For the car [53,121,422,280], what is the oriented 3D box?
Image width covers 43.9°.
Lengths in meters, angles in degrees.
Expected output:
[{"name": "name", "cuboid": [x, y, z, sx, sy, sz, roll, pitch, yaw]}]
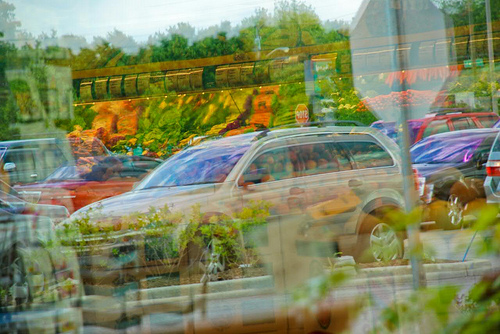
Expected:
[{"name": "car", "cuboid": [-0.139, 0.363, 6.204, 3.419, 1.374, 1.592, -2, -1, -18]}]
